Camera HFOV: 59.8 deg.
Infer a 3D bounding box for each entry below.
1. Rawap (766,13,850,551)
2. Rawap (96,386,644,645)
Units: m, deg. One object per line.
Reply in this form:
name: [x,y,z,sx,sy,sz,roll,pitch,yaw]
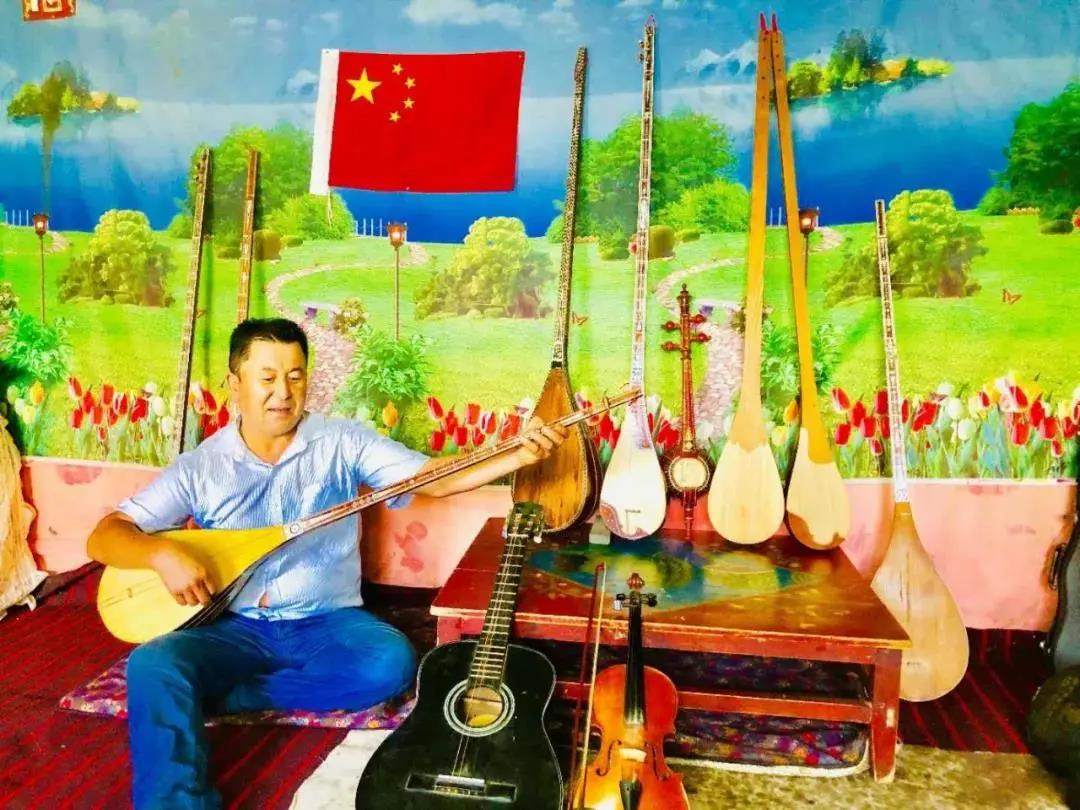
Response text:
Rawap: [1.180,-0.584,4.238,0.237,2.392,0.543,-2,6,-14]
Rawap: [-0.635,0.493,4.006,2.533,0.688,0.215,-23,6,-21]
